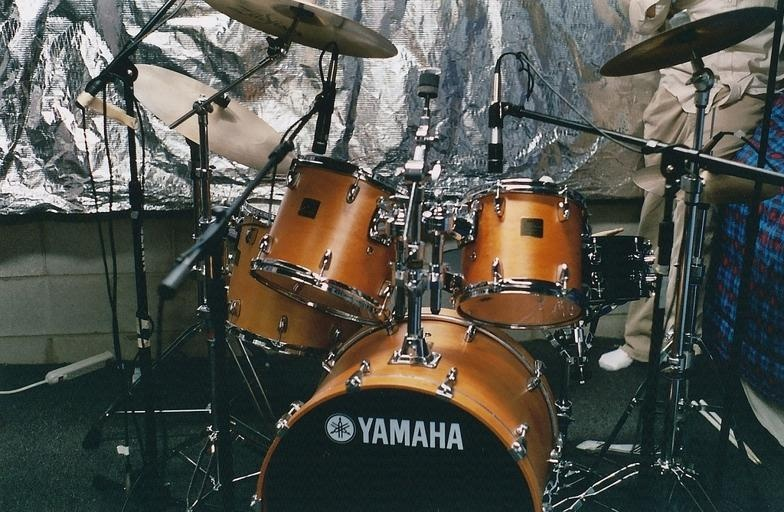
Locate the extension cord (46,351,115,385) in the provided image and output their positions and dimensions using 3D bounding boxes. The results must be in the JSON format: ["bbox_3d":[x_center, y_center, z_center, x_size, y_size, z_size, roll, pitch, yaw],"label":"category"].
[{"bbox_3d":[-1.730,0.628,4.929,0.089,0.096,0.361,-4,20,34],"label":"extension cord"}]

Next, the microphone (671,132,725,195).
[{"bbox_3d":[1.281,-0.445,3.803,0.095,0.295,0.212,21,2,15],"label":"microphone"}]

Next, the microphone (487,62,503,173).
[{"bbox_3d":[0.455,-0.623,3.879,0.067,0.549,0.231,4,-5,6],"label":"microphone"}]

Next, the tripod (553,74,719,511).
[{"bbox_3d":[1.144,0.215,4.110,0.659,1.950,0.861,4,-5,6],"label":"tripod"}]

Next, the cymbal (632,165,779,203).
[{"bbox_3d":[1.498,-0.323,3.957,0.326,0.079,0.325,15,17,7],"label":"cymbal"}]

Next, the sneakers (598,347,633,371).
[{"bbox_3d":[1.248,0.582,4.984,0.186,0.100,0.076,-7,-31,-23],"label":"sneakers"}]

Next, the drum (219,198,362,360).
[{"bbox_3d":[-0.538,0.114,4.321,0.649,0.495,0.656,-1,-9,0],"label":"drum"}]

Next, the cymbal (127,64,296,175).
[{"bbox_3d":[-0.856,-0.649,4.101,0.618,0.159,0.545,26,10,-35],"label":"cymbal"}]

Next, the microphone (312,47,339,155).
[{"bbox_3d":[-0.301,-0.686,3.858,0.102,0.450,0.096,13,11,13],"label":"microphone"}]

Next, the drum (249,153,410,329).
[{"bbox_3d":[-0.273,-0.118,4.205,0.725,0.652,0.727,19,-19,8],"label":"drum"}]

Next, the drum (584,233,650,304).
[{"bbox_3d":[1.046,0.052,4.064,0.309,0.229,0.308,2,1,0],"label":"drum"}]
